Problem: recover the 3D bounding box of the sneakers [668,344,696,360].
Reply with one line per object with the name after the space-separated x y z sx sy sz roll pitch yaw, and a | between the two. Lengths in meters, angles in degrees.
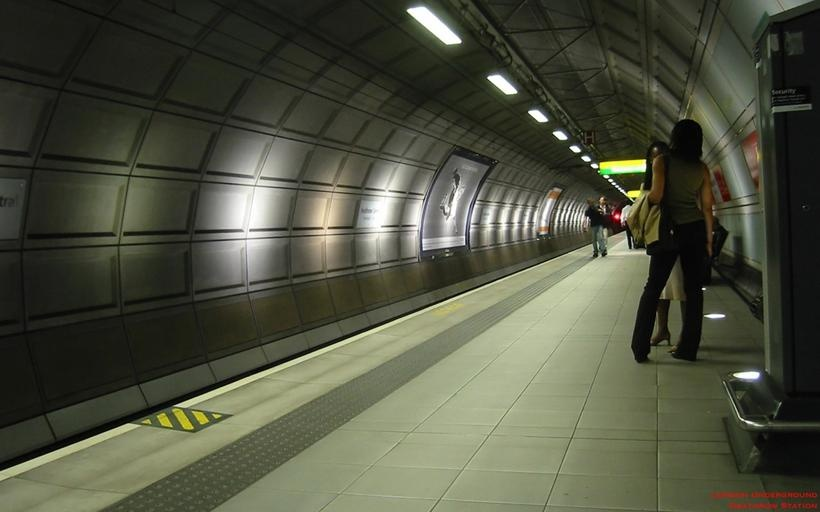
3.478 1.245 5.881 0.284 0.189 0.157 17 6 30 | sneakers
